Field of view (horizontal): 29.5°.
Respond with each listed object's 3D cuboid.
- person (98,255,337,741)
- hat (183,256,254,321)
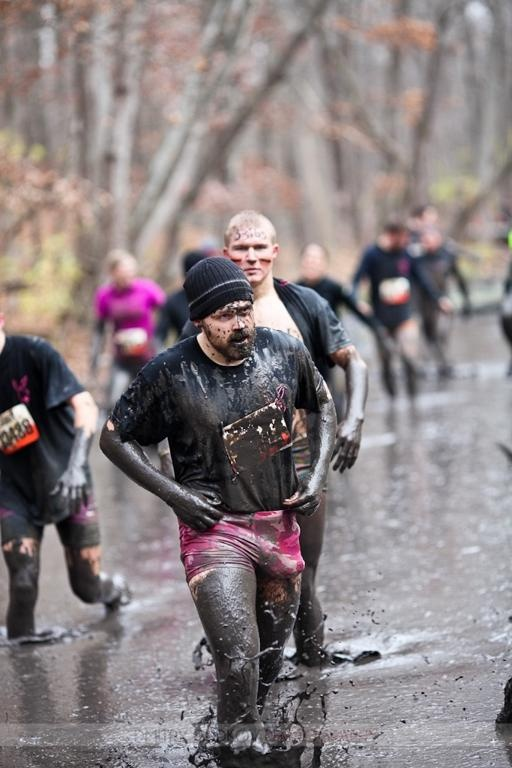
[{"bbox_3d":[-0.110,0.433,3.056,0.651,1.535,1.079,1,34,10],"label":"person"},{"bbox_3d":[-0.116,-0.278,2.961,0.196,0.204,0.205,-8,33,-3],"label":"hat"}]
